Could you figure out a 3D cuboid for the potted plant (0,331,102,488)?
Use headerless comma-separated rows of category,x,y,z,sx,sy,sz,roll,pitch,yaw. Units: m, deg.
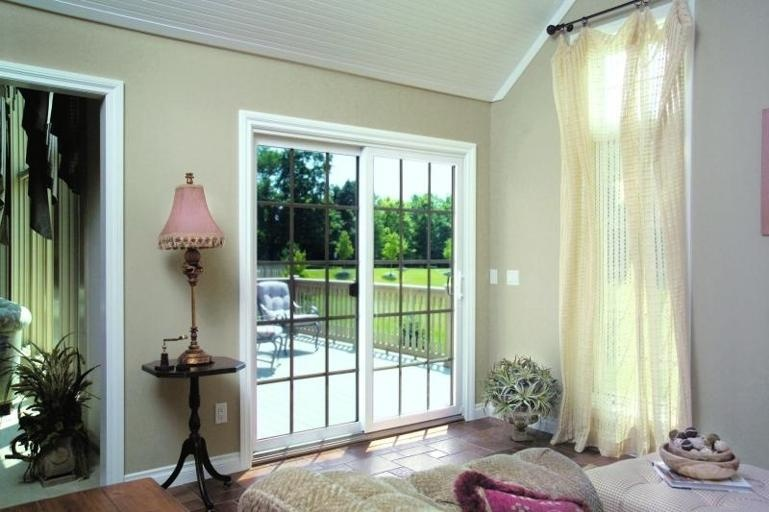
potted plant,-2.797,1.222,4.745,0.667,1.077,1.289,1,-1,-28

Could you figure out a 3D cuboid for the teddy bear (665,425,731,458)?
teddy bear,1.806,1.083,3.251,0.198,0.090,0.212,3,-6,-18

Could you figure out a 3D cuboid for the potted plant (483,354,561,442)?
potted plant,1.261,1.291,5.122,0.561,0.690,0.507,-1,-1,42

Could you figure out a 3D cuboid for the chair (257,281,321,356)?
chair,-0.840,0.476,4.787,0.460,0.658,0.594,2,-4,-36

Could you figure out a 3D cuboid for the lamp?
lamp,-1.432,0.082,4.148,0.427,1.400,0.414,1,-1,-22
